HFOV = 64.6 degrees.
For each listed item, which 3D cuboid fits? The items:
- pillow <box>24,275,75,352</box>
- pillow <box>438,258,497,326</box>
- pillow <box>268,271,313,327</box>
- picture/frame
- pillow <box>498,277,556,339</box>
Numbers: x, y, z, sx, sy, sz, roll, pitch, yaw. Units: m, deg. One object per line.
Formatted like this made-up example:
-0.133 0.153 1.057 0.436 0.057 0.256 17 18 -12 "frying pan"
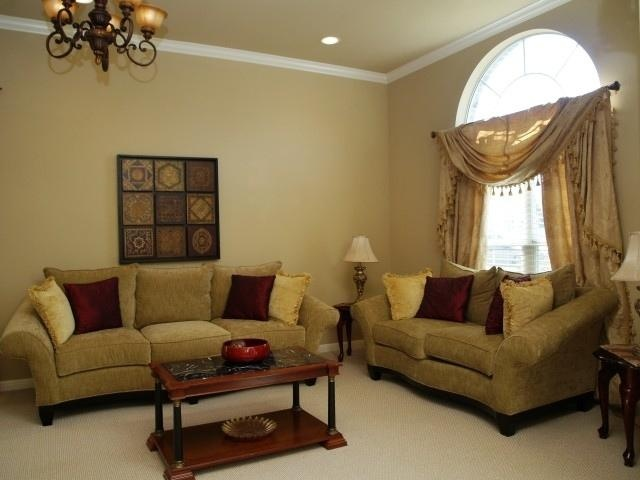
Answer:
-2.353 0.636 4.461 0.329 0.525 0.453 -3 6 -27 "pillow"
1.434 0.539 4.961 0.190 0.480 0.542 10 -2 -34 "pillow"
-0.297 0.637 5.355 0.459 0.487 0.145 5 -14 30 "pillow"
-1.707 -0.334 5.500 1.179 1.299 0.056 -1 4 -27 "picture/frame"
1.713 0.580 4.186 0.419 0.449 0.185 -5 -15 2 "pillow"
